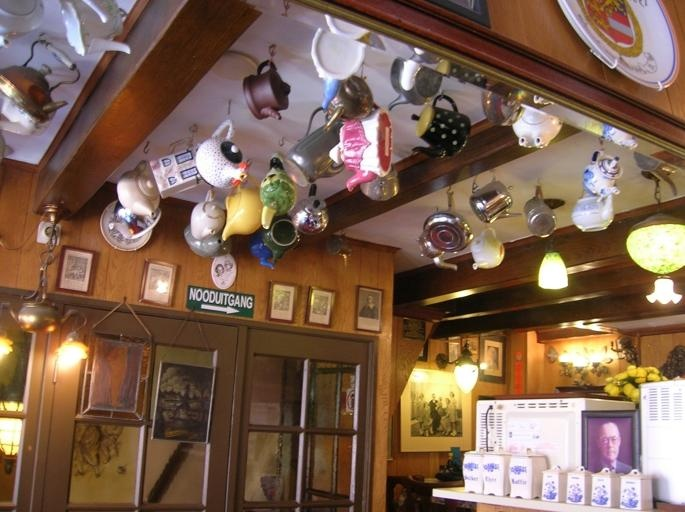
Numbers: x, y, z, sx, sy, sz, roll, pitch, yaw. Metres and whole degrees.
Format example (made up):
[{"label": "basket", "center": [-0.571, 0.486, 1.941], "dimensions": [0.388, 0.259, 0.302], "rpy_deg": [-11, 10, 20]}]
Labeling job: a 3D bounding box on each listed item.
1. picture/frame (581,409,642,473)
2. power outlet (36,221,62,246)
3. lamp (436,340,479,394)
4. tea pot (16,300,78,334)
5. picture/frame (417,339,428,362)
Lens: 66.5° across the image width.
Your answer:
[{"label": "picture/frame", "center": [1.126, 0.776, 2.182], "dimensions": [0.244, 0.353, 0.034], "rpy_deg": [-2, -9, 30]}, {"label": "power outlet", "center": [-1.675, -0.125, 2.963], "dimensions": [0.129, 0.138, 0.031], "rpy_deg": [3, -6, -34]}, {"label": "lamp", "center": [1.408, 1.369, 6.663], "dimensions": [0.481, 0.697, 0.960], "rpy_deg": [-1, -17, 10]}, {"label": "tea pot", "center": [-1.553, 0.314, 2.776], "dimensions": [0.278, 0.177, 0.174], "rpy_deg": [12, -15, -38]}, {"label": "picture/frame", "center": [1.008, 1.188, 6.614], "dimensions": [0.130, 0.264, 0.271], "rpy_deg": [-1, -17, 8]}]
